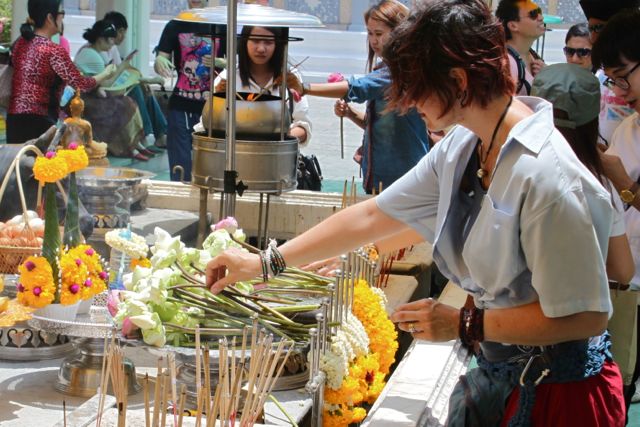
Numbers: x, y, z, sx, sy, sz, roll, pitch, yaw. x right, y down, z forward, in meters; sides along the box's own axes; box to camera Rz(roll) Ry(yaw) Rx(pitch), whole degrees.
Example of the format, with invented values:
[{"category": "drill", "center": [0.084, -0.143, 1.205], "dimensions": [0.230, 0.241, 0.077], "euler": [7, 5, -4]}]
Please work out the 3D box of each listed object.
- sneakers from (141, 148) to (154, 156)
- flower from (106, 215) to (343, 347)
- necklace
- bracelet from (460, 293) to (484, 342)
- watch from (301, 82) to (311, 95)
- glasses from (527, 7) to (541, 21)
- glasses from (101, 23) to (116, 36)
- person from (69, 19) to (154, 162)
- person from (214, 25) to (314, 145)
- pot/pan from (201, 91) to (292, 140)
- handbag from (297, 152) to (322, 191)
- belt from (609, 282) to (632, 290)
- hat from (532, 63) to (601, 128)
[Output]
[{"category": "sneakers", "center": [-1.593, -0.551, 7.285], "dimensions": [0.118, 0.039, 0.057], "euler": [16, -6, 32]}, {"category": "flower", "center": [-0.340, 0.293, 2.759], "dimensions": [0.615, 0.284, 0.454], "euler": [4, 14, -3]}, {"category": "necklace", "center": [0.528, -0.233, 2.428], "dimensions": [0.051, 0.212, 0.134], "euler": [38, -7, 24]}, {"category": "bracelet", "center": [0.449, 0.309, 2.391], "dimensions": [0.059, 0.130, 0.142], "euler": [7, 39, -4]}, {"category": "watch", "center": [-0.073, -0.670, 4.239], "dimensions": [0.046, 0.065, 0.060], "euler": [13, 11, -6]}, {"category": "glasses", "center": [1.264, -1.165, 4.613], "dimensions": [0.024, 0.076, 0.072], "euler": [38, 47, 23]}, {"category": "glasses", "center": [-1.712, -1.466, 6.344], "dimensions": [0.071, 0.096, 0.083], "euler": [-4, 47, -15]}, {"category": "person", "center": [-1.721, -1.051, 6.671], "dimensions": [0.604, 1.139, 0.418], "euler": [15, 30, 29]}, {"category": "person", "center": [-0.291, -0.512, 4.277], "dimensions": [0.457, 1.041, 0.360], "euler": [-2, -14, -1]}, {"category": "pot/pan", "center": [-0.385, -0.453, 3.765], "dimensions": [0.276, 0.136, 0.269], "euler": [0, 0, 38]}, {"category": "handbag", "center": [-0.057, -0.264, 5.354], "dimensions": [0.147, 0.269, 0.193], "euler": [-3, 19, 13]}, {"category": "belt", "center": [1.118, 0.272, 2.933], "dimensions": [0.071, 0.020, 0.074], "euler": [2, 1, 10]}, {"category": "hat", "center": [0.965, -0.470, 3.118], "dimensions": [0.244, 0.223, 0.338], "euler": [-1, 8, -2]}]
